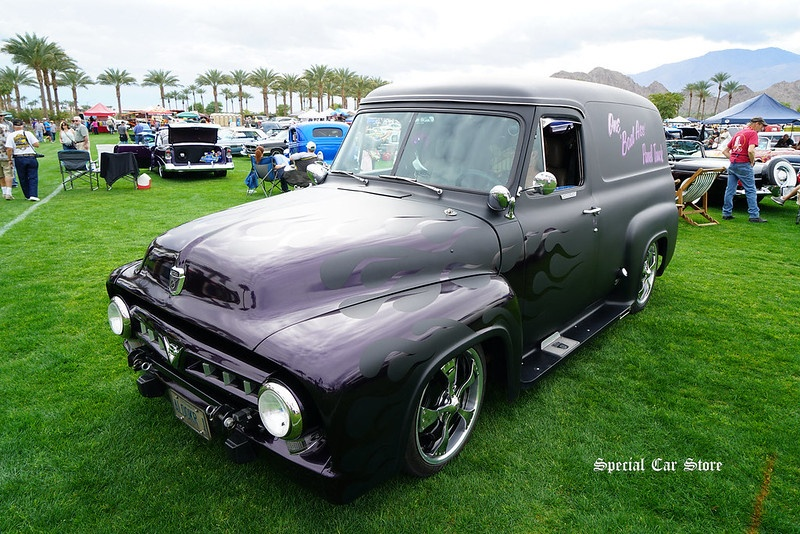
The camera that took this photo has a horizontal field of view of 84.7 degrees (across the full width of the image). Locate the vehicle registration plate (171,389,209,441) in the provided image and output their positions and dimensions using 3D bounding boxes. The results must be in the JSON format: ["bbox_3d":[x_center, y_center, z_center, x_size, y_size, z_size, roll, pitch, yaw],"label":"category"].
[{"bbox_3d":[-1.614,1.139,3.395,0.563,0.325,0.063,25,36,31],"label":"vehicle registration plate"}]

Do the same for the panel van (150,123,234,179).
[{"bbox_3d":[-7.951,-4.598,16.675,1.945,1.248,2.967,-8,28,-26],"label":"panel van"}]

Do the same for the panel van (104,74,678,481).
[{"bbox_3d":[0.522,-0.201,4.663,5.450,2.294,3.024,-17,21,-39],"label":"panel van"}]

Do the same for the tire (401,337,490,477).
[{"bbox_3d":[0.315,1.074,3.521,0.284,1.095,1.123,10,18,39],"label":"tire"}]

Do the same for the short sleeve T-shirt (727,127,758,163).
[{"bbox_3d":[8.304,-3.038,10.696,0.268,0.831,0.686,-4,17,-17],"label":"short sleeve T-shirt"}]

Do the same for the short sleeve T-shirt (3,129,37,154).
[{"bbox_3d":[-10.004,-3.384,11.545,0.751,0.648,0.404,-8,15,-24],"label":"short sleeve T-shirt"}]
